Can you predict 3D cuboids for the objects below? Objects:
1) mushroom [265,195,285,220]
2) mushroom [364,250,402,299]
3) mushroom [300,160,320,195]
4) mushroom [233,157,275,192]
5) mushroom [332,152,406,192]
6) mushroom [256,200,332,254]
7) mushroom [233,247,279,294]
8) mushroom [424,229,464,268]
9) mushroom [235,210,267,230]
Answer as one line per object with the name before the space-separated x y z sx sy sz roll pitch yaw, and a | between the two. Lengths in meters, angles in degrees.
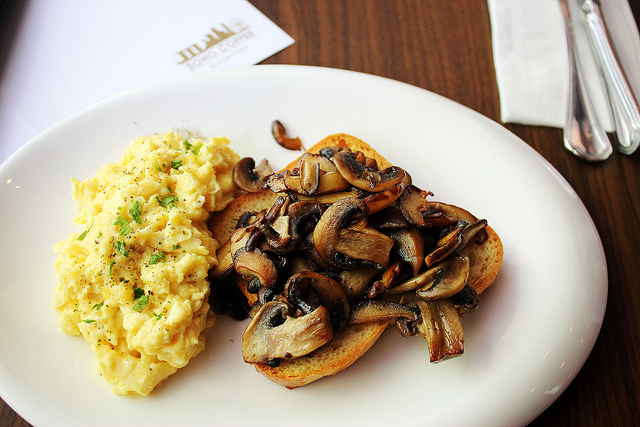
mushroom | -0.291 -0.039 3.818 0.169 0.039 0.084 -54 35 3
mushroom | 0.419 0.399 3.762 0.166 0.083 0.318 6 56 43
mushroom | -0.065 -0.228 3.768 0.117 0.040 0.206 3 85 -2
mushroom | -0.473 -0.265 4.261 0.242 0.076 0.244 -27 76 -44
mushroom | 0.295 -0.251 3.813 0.331 0.091 0.287 2 48 -20
mushroom | -0.109 0.045 3.781 0.304 0.099 0.397 43 78 13
mushroom | -0.400 0.354 3.828 0.236 0.124 0.346 -32 82 -3
mushroom | 0.776 0.205 3.748 0.068 0.162 0.285 44 81 -15
mushroom | -0.473 0.011 4.001 0.162 0.043 0.123 -35 38 -24
